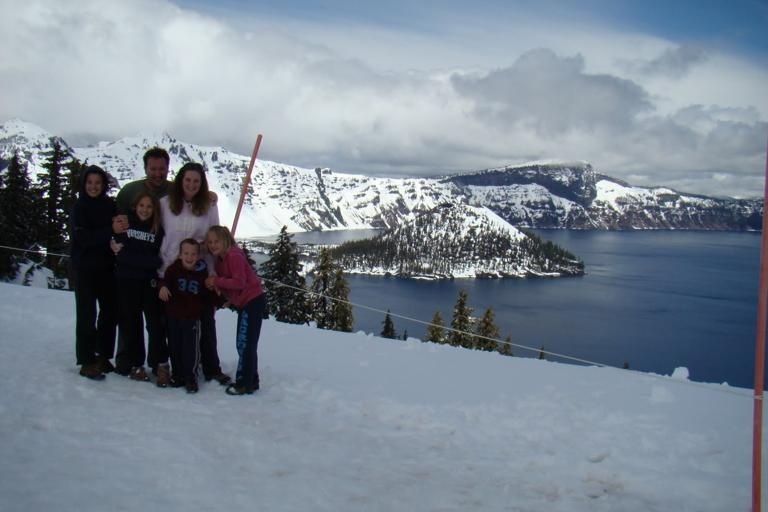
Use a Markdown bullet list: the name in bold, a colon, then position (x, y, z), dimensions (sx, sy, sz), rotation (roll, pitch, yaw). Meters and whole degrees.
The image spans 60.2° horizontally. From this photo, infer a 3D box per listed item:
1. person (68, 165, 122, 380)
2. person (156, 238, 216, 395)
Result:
- **person**: position (-4.531, 0.271, 10.448), dimensions (0.708, 3.329, 0.567), rotation (-3, 4, -25)
- **person**: position (-3.135, 0.939, 10.573), dimensions (0.773, 2.431, 0.351), rotation (-3, 4, -15)
